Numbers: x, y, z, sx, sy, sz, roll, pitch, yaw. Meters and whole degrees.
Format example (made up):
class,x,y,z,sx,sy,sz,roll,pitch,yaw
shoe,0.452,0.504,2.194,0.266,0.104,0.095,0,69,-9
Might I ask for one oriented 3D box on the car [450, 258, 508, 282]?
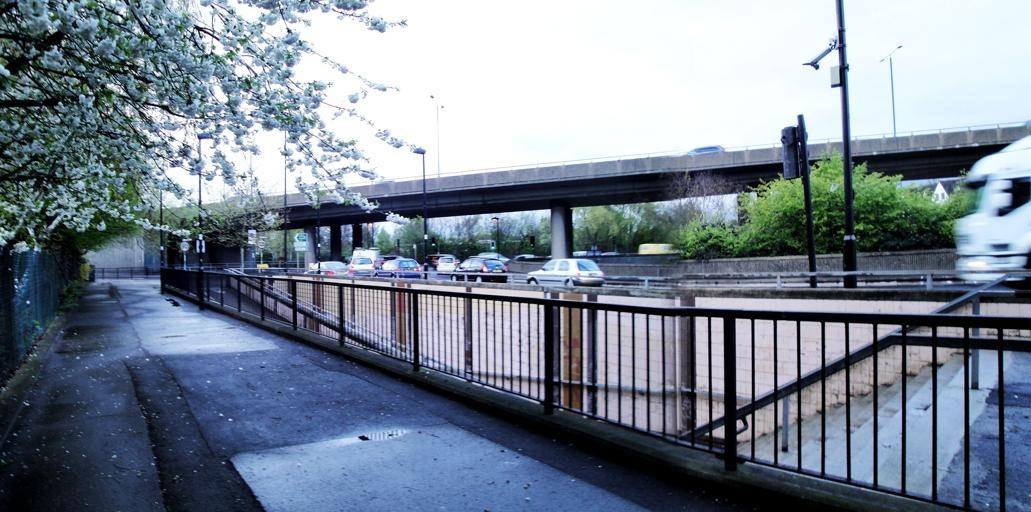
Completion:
class,x,y,z,sx,sy,sz,roll,pitch,yaw
car,-2.083,1.060,46.470,1.690,1.115,2.855,-2,6,-35

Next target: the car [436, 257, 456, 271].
class,x,y,z,sx,sy,sz,roll,pitch,yaw
car,-5.412,0.699,55.292,1.091,0.851,1.721,0,-7,-9

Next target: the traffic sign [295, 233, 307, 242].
class,x,y,z,sx,sy,sz,roll,pitch,yaw
traffic sign,-14.902,-1.249,49.104,0.127,0.676,1.113,-18,-24,35

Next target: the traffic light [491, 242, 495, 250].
class,x,y,z,sx,sy,sz,roll,pitch,yaw
traffic light,-2.751,-1.181,87.961,0.582,0.989,1.052,-3,3,-5
